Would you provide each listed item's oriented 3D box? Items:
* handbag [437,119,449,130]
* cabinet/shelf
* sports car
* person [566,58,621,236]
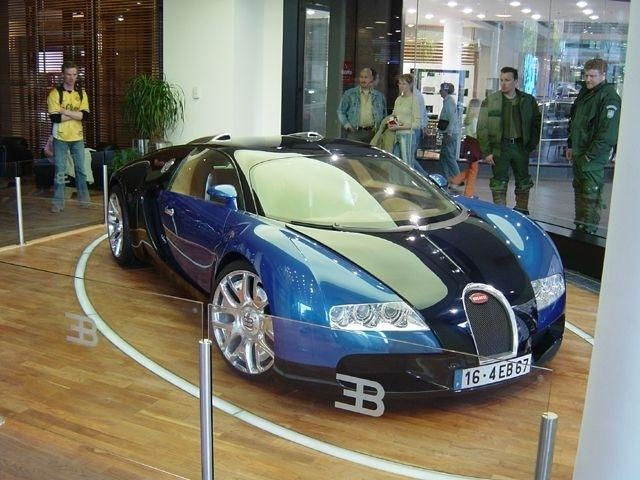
[{"bbox_3d":[1.992,-1.875,7.369,0.133,0.122,0.158,-11,16,-42],"label":"handbag"},{"bbox_3d":[1.923,-2.223,7.746,1.165,1.233,1.146,1,3,9],"label":"cabinet/shelf"},{"bbox_3d":[-0.015,0.028,2.676,1.493,0.740,2.540,-5,13,-34],"label":"sports car"},{"bbox_3d":[3.320,-1.157,5.510,0.415,2.033,0.783,4,14,14],"label":"person"}]
